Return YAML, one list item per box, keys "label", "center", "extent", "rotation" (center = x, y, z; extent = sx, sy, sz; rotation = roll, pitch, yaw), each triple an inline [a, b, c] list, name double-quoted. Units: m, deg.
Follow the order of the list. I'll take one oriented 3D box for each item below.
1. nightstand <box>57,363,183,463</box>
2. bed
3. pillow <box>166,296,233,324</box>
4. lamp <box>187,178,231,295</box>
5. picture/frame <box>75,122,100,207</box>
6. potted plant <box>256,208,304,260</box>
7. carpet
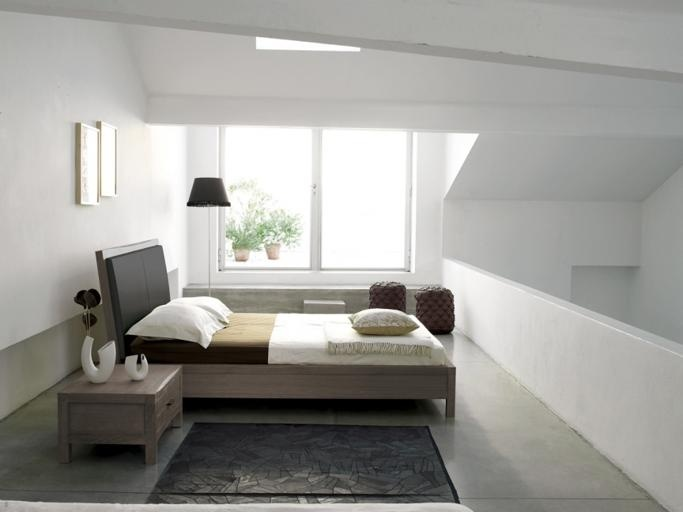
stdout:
- label: "nightstand"
  center: [-1.306, 0.918, 2.956]
  extent: [0.576, 0.418, 0.586]
  rotation: [1, 6, -5]
- label: "bed"
  center: [-0.879, 0.407, 3.842]
  extent: [1.545, 0.805, 0.949]
  rotation: [6, 10, 1]
- label: "pillow"
  center: [-1.084, 0.471, 4.034]
  extent: [0.316, 0.084, 0.286]
  rotation: [19, -2, -41]
- label: "lamp"
  center: [-1.625, -0.028, 6.090]
  extent: [0.539, 1.830, 0.534]
  rotation: [-1, 4, -15]
- label: "picture/frame"
  center: [-1.964, -0.704, 3.828]
  extent: [0.094, 0.615, 0.374]
  rotation: [0, 6, -12]
- label: "potted plant"
  center: [-0.979, -0.216, 7.347]
  extent: [0.370, 0.523, 0.458]
  rotation: [9, -16, -44]
- label: "carpet"
  center: [-0.193, 1.146, 2.822]
  extent: [1.544, 0.019, 0.907]
  rotation: [1, 6, -2]
